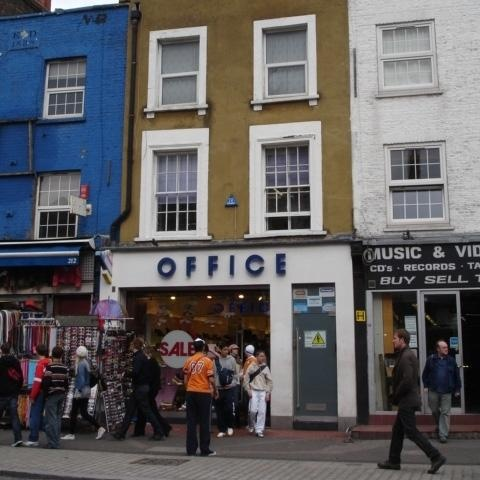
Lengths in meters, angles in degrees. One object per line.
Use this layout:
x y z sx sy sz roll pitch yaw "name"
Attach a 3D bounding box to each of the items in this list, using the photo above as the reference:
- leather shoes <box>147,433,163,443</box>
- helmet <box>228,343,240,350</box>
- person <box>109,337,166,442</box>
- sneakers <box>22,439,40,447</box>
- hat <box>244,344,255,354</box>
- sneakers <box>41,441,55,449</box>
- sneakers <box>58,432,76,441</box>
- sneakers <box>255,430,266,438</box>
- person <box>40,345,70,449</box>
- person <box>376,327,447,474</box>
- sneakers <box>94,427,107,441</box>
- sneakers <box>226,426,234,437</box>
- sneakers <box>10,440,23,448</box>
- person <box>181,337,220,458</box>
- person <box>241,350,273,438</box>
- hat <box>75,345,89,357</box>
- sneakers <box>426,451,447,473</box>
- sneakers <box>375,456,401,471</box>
-1.645 3.920 14.672 0.323 0.271 0.119 -1 -5 3 "leather shoes"
-0.131 2.372 16.420 0.185 0.100 0.281 1 -11 -14 "helmet"
-2.016 3.017 15.010 0.950 1.982 1.033 1 -9 -10 "person"
-3.840 3.793 13.824 0.255 0.129 0.101 6 -21 -2 "sneakers"
0.217 2.395 16.105 0.142 0.187 0.205 5 -22 -2 "hat"
-3.458 3.797 13.594 0.290 0.160 0.154 -4 -15 41 "sneakers"
-3.402 3.914 14.749 0.297 0.153 0.119 4 -16 2 "sneakers"
0.405 4.047 15.443 0.082 0.122 0.259 4 -14 -18 "sneakers"
-3.403 2.912 13.757 0.405 1.849 0.478 0 -9 -6 "person"
2.666 2.555 11.871 0.554 2.231 1.031 8 -13 -43 "person"
-2.764 3.939 14.885 0.150 0.129 0.385 13 -59 -15 "sneakers"
-0.208 4.010 15.500 0.135 0.176 0.290 0 -10 -6 "sneakers"
-4.054 3.755 13.647 0.199 0.130 0.243 2 -10 -18 "sneakers"
-0.701 2.755 12.950 0.532 2.001 0.367 0 -9 -3 "person"
0.378 3.252 15.654 0.566 1.769 0.585 0 -9 -1 "person"
-3.160 2.260 14.989 0.171 0.221 0.224 -5 5 -23 "hat"
3.067 3.472 11.544 0.249 0.303 0.472 -6 -11 31 "sneakers"
2.356 3.586 11.881 0.389 0.208 0.145 4 -12 16 "sneakers"
